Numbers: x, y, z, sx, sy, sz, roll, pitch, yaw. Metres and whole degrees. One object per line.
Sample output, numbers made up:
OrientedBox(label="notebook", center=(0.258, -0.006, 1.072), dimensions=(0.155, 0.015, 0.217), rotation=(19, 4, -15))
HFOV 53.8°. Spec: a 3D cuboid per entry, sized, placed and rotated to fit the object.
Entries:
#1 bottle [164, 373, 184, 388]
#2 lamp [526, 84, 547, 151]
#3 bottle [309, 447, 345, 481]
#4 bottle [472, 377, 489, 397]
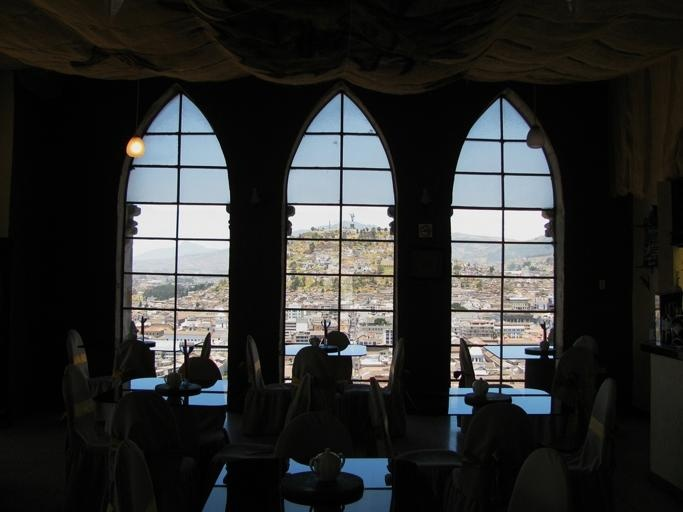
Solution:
OrientedBox(label="bottle", center=(-1.863, 1.387, 7.470), dimensions=(0.122, 0.118, 0.161), rotation=(2, -1, -15))
OrientedBox(label="lamp", center=(2.798, -1.986, 9.635), dimensions=(0.218, 1.027, 1.163), rotation=(-1, -2, 18))
OrientedBox(label="bottle", center=(-0.120, 1.750, 5.693), dimensions=(0.303, 0.220, 0.205), rotation=(-4, 3, -18))
OrientedBox(label="bottle", center=(1.520, 1.423, 7.315), dimensions=(0.159, 0.162, 0.165), rotation=(1, -5, 4))
